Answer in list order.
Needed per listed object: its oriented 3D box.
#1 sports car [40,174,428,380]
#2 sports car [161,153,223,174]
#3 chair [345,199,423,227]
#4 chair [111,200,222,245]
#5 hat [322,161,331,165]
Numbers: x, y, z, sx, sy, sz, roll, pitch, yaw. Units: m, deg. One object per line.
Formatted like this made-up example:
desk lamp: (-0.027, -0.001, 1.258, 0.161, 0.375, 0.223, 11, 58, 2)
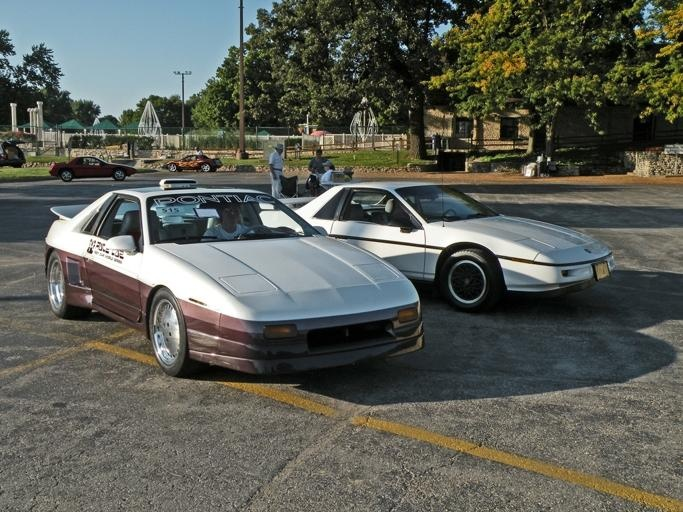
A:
sports car: (-1.410, 0.073, 5.134, 3.997, 1.273, 1.944, 10, 13, 44)
sports car: (-13.501, -8.335, 44.255, 4.445, 1.242, 2.127, 6, 11, 11)
chair: (0.598, -0.623, 7.427, 0.922, 0.213, 0.481, 11, 12, 28)
chair: (-1.869, -0.388, 5.363, 0.932, 0.284, 0.569, 4, 7, 45)
hat: (-0.517, -3.298, 17.470, 0.289, 0.130, 0.378, 0, 12, -11)
